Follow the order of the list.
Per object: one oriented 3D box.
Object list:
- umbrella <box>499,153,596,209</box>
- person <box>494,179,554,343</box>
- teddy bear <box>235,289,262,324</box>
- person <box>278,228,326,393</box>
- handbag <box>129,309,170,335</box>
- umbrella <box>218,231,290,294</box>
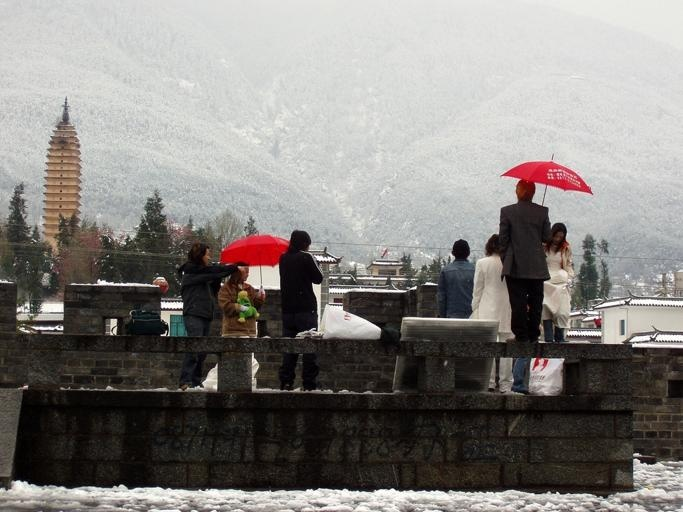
[{"bbox_3d":[3.919,-1.362,31.707,1.716,1.052,1.452,10,11,-4],"label":"umbrella"},{"bbox_3d":[3.451,0.085,31.106,0.999,3.083,0.670,2,-6,-5],"label":"person"},{"bbox_3d":[-1.816,0.969,32.215,0.630,0.669,0.317,-5,-20,-16],"label":"teddy bear"},{"bbox_3d":[-0.790,1.026,31.923,0.854,3.130,1.266,2,-6,-2],"label":"person"},{"bbox_3d":[-3.562,1.244,30.600,0.905,0.543,0.445,1,2,-5],"label":"handbag"},{"bbox_3d":[-1.713,0.101,33.795,1.223,0.833,1.192,1,-9,-43],"label":"umbrella"}]
